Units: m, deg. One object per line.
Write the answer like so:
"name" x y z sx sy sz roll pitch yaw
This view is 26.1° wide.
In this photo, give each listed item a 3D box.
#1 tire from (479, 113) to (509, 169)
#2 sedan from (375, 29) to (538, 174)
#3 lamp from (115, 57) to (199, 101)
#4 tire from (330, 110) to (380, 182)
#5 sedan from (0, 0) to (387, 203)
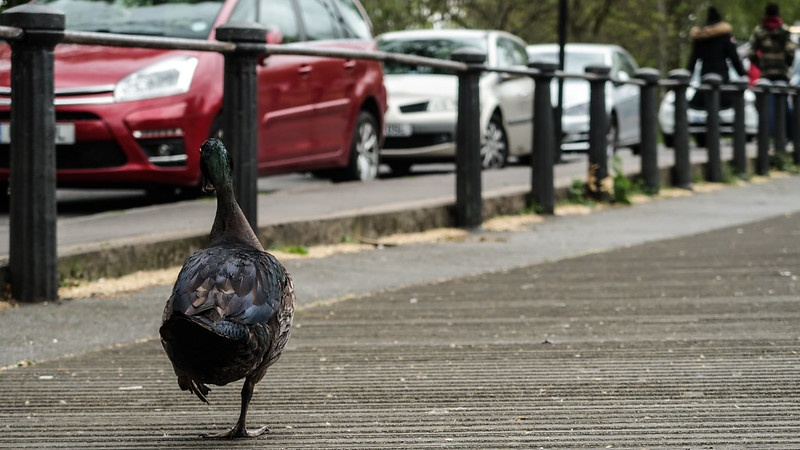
"tire" 0.943 -0.877 18.480 0.190 0.612 0.604 1 -3 26
"sedan" 0.612 -1.366 18.253 1.109 1.039 2.062 0 0 23
"lamp" -2.280 -1.344 16.105 0.257 0.337 0.991 1 6 32
"tire" -0.466 -0.811 17.191 0.225 0.648 0.634 -4 6 26
"sedan" -1.687 -1.275 16.427 1.855 1.435 3.039 0 0 30
